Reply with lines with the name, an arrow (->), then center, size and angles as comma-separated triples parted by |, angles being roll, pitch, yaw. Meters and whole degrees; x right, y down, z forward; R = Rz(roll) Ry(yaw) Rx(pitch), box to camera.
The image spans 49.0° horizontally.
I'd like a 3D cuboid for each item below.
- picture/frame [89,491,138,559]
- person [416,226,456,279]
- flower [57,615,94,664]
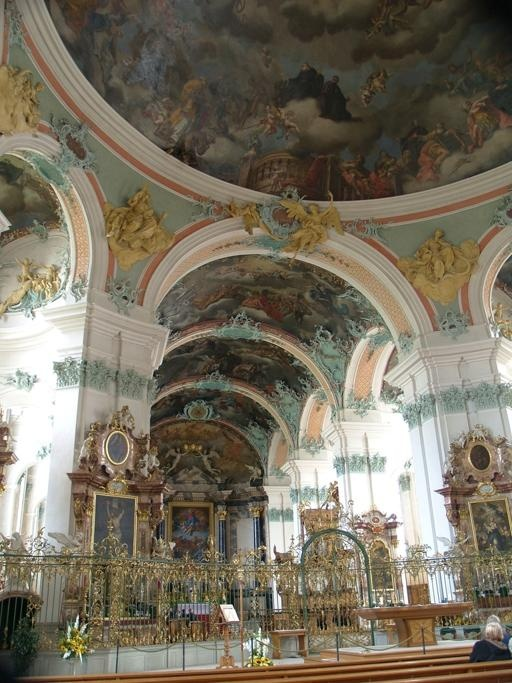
picture/frame -> -2.584, 3.292, 10.042 | 0.098, 1.256, 1.112 | -32, -38, 33
person -> 4.748, -2.295, 14.991 | 0.965, 1.346, 0.325 | -14, -28, 22
flower -> -2.323, 3.852, 7.216 | 0.260, 0.329, 0.236 | -20, -37, -15
